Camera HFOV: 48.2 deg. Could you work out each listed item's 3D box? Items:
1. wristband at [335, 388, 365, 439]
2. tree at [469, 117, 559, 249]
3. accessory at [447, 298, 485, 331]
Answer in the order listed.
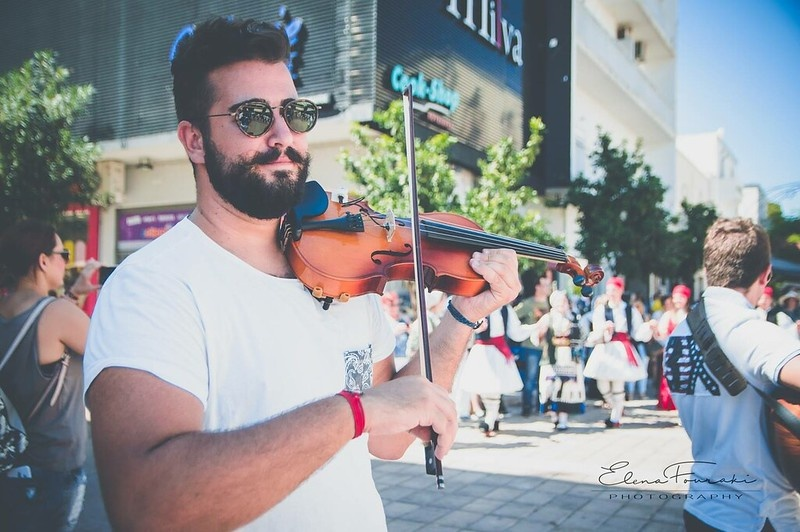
[{"bbox_3d":[-0.379,1.136,6.985,0.212,0.339,0.103,-1,9,-3],"label":"wristband"},{"bbox_3d":[1.805,-1.305,15.256,1.133,2.994,0.523,30,-42,-16],"label":"tree"},{"bbox_3d":[0.539,0.386,7.579,0.289,0.089,0.241,49,10,28],"label":"accessory"}]
